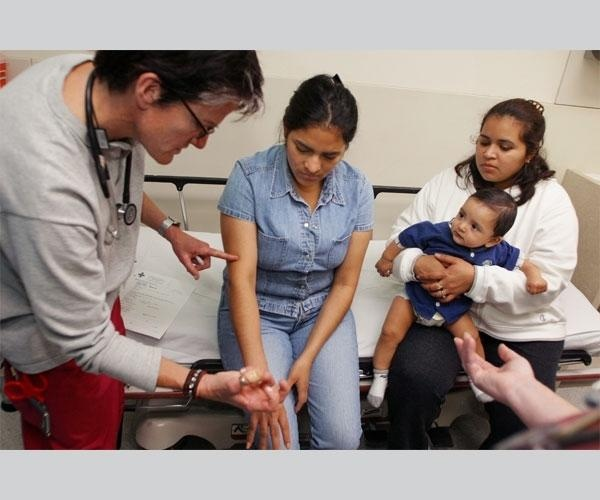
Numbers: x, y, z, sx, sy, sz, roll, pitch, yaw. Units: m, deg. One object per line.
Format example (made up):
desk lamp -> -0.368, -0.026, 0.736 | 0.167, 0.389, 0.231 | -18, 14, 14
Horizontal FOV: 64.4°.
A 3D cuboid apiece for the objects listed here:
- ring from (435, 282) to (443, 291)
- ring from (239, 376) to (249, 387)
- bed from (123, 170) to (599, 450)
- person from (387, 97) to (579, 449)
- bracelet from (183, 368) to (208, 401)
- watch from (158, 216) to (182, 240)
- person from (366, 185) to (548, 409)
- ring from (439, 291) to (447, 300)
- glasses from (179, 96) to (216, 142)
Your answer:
ring -> 0.471, 0.124, 1.619 | 0.020, 0.027, 0.009 | -1, -4, -4
ring -> -0.133, 0.311, 1.150 | 0.022, 0.022, 0.019 | 25, 34, 7
bed -> 0.194, 0.274, 2.039 | 1.699, 0.802, 0.868 | 0, 39, -10
person -> 0.549, 0.170, 1.677 | 0.572, 0.749, 0.391 | 15, 30, 19
bracelet -> -0.259, 0.326, 1.166 | 0.026, 0.059, 0.074 | 13, 16, 14
watch -> -0.472, -0.083, 1.747 | 0.081, 0.056, 0.081 | 1, -13, -4
person -> 0.543, 0.160, 1.606 | 0.549, 0.721, 0.393 | 19, 42, 19
ring -> 0.486, 0.155, 1.624 | 0.029, 0.024, 0.013 | -1, -19, -26
glasses -> -0.221, -0.276, 1.036 | 0.015, 0.053, 0.051 | -31, -15, 8
